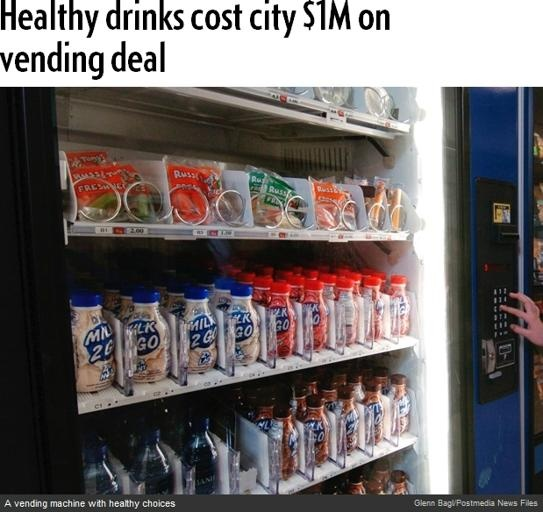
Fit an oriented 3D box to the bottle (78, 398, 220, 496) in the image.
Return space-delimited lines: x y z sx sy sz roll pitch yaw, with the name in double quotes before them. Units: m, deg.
"bottle" -0.357 0.463 1.445 0.243 0.345 0.329 -4 -2 44
